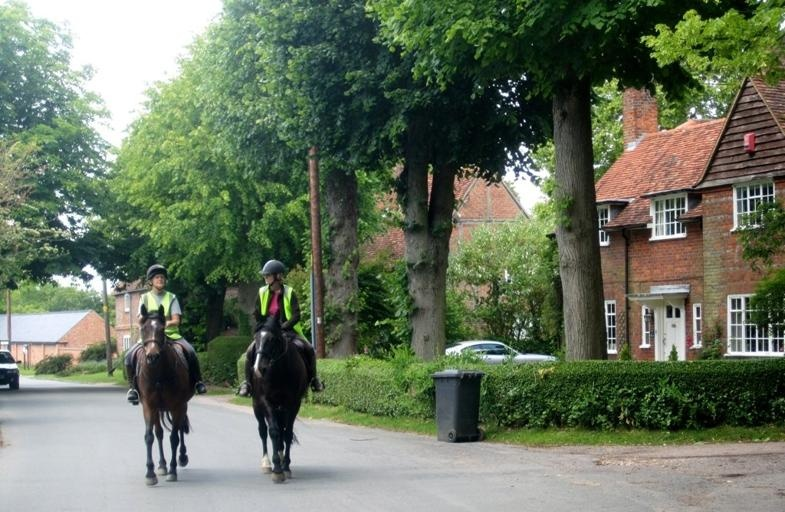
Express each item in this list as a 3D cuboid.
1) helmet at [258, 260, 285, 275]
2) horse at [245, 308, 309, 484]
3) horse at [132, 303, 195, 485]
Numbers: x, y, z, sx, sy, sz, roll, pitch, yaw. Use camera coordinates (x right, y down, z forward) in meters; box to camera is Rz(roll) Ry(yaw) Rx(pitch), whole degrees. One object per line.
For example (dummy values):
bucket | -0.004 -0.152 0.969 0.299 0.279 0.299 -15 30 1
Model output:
helmet | -3.303 0.224 30.426 0.647 0.386 0.480 5 -11 -12
horse | -3.097 3.693 29.653 1.369 4.320 2.011 0 12 5
horse | -6.127 3.615 29.702 1.300 4.636 2.327 -2 12 -1
